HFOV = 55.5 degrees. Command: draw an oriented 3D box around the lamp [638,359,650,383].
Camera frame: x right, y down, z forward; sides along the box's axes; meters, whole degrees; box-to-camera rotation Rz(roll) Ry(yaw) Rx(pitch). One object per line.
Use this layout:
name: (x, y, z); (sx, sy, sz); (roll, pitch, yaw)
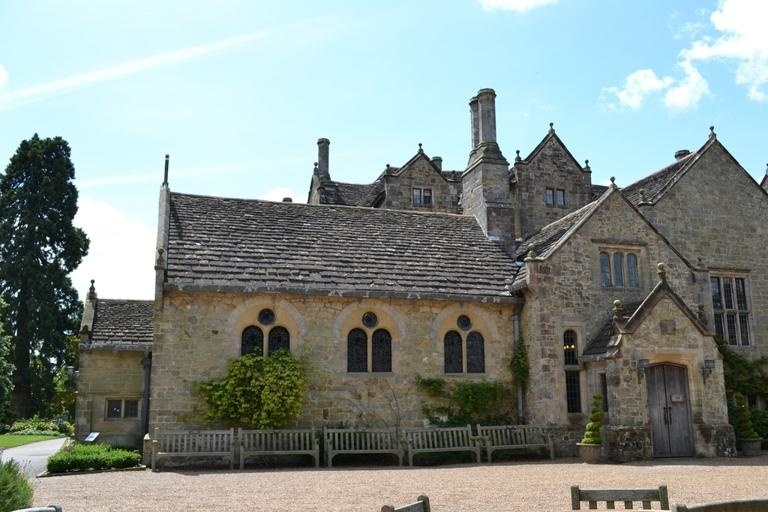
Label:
lamp: (9.611, 4.239, 27.040); (0.408, 0.835, 0.334); (5, -19, -15)

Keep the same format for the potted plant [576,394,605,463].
potted plant: (7.704, 6.396, 26.949); (0.974, 2.448, 1.248); (-6, -19, 17)

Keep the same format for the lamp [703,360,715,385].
lamp: (12.300, 4.346, 27.635); (0.489, 0.812, 0.375); (-7, -20, 21)
